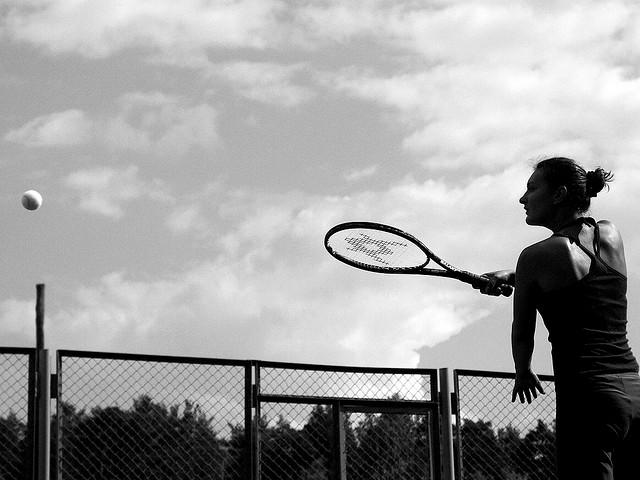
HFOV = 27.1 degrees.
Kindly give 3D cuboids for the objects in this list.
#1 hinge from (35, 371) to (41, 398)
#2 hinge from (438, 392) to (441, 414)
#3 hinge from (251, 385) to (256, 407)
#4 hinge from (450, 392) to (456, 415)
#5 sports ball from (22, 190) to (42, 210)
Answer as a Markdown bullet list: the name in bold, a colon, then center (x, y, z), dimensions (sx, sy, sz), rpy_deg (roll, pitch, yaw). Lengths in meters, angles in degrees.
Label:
- **hinge**: center (-2.104, 1.089, 9.952), dimensions (0.061, 0.198, 0.021), rpy_deg (-4, -12, 26)
- **hinge**: center (0.982, 1.350, 10.944), dimensions (0.021, 0.160, 0.013), rpy_deg (0, -11, 4)
- **hinge**: center (-0.513, 1.223, 10.345), dimensions (0.037, 0.172, 0.020), rpy_deg (9, -13, -36)
- **hinge**: center (1.093, 1.359, 10.956), dimensions (0.045, 0.175, 0.028), rpy_deg (6, -12, -24)
- **sports ball**: center (-3.954, -0.542, 18.374), dimensions (0.212, 0.273, 0.208), rpy_deg (1, -11, 0)
